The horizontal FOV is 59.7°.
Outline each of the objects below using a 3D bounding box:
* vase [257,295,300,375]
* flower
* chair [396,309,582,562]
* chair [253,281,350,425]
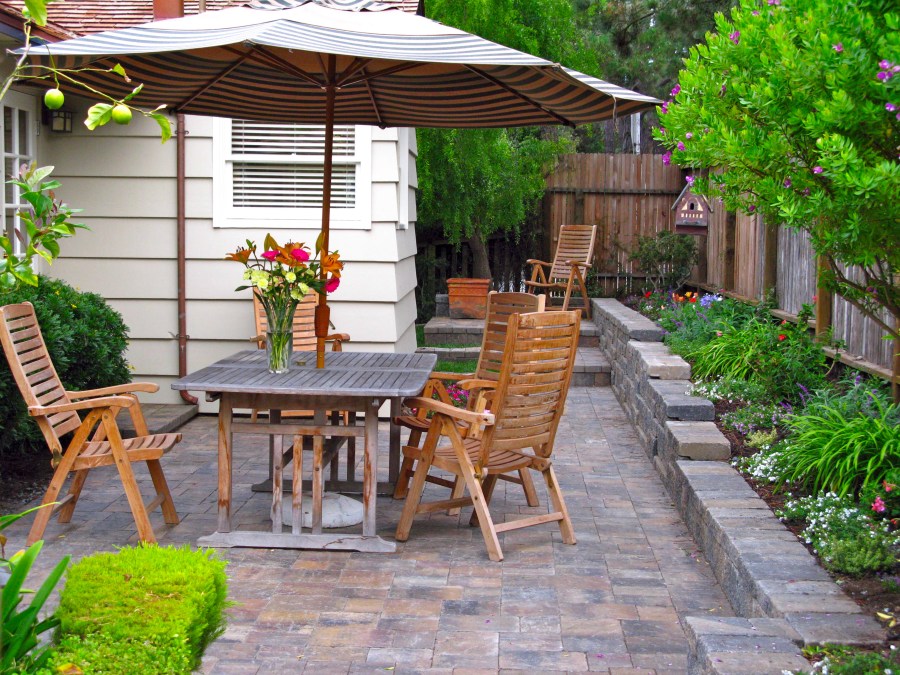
[{"bbox_3d":[-1.012,-0.009,4.695,0.415,0.519,0.373,0,-1,-14],"label":"vase"},{"bbox_3d":[-0.891,-0.194,4.577,0.529,0.786,0.332,0,8,-7],"label":"flower"},{"bbox_3d":[0.265,0.515,4.534,0.980,1.375,0.757,2,8,3],"label":"chair"},{"bbox_3d":[-1.235,0.125,6.725,1.001,1.595,1.089,0,-1,-15],"label":"chair"}]
